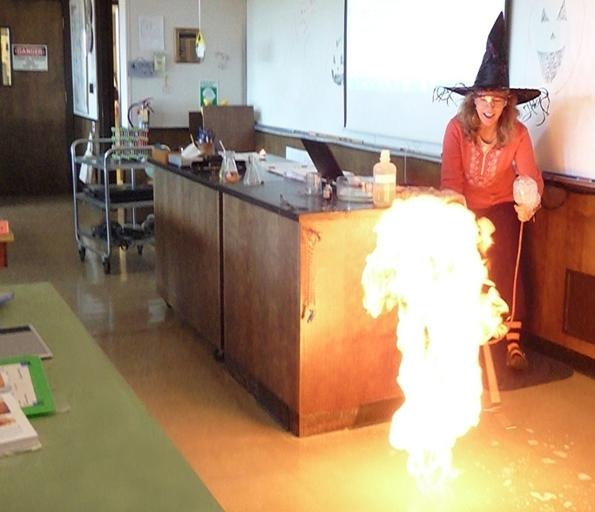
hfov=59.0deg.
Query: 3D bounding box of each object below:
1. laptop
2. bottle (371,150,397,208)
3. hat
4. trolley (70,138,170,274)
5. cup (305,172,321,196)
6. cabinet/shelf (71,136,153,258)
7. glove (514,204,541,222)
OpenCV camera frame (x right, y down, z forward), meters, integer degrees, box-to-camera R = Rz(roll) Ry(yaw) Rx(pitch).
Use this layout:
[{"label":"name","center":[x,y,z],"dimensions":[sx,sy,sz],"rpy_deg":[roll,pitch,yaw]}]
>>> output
[{"label":"laptop","center":[0.127,-0.497,2.761],"dimensions":[0.200,0.222,0.346],"rpy_deg":[1,14,0]},{"label":"bottle","center":[0.391,-0.350,2.351],"dimensions":[0.108,0.235,0.271],"rpy_deg":[3,13,11]},{"label":"hat","center":[1.075,-1.053,2.953],"dimensions":[0.390,0.559,0.516],"rpy_deg":[-2,20,-6]},{"label":"trolley","center":[-1.665,-0.521,4.954],"dimensions":[0.561,1.069,0.759],"rpy_deg":[16,18,34]},{"label":"cup","center":[0.079,-0.358,2.602],"dimensions":[0.075,0.120,0.090],"rpy_deg":[3,13,12]},{"label":"cabinet/shelf","center":[-1.854,-0.577,5.336],"dimensions":[0.681,1.550,1.034],"rpy_deg":[-5,13,-32]},{"label":"glove","center":[1.215,-0.227,2.791],"dimensions":[0.152,0.066,0.119],"rpy_deg":[-4,12,-45]}]
